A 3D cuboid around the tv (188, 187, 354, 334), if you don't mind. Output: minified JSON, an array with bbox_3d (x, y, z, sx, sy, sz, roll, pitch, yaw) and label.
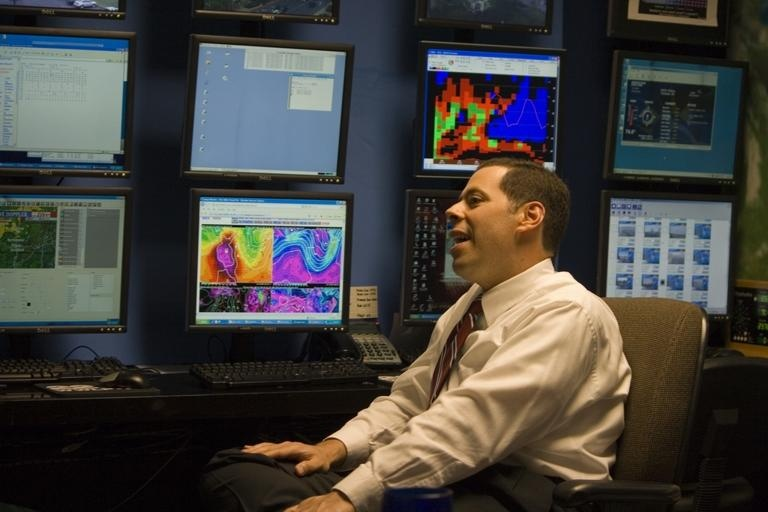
[{"bbox_3d":[-0.457,0.024,2.634,0.605,0.473,0.063,2,-2,-9],"label":"tv"}]

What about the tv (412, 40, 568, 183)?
[{"bbox_3d":[0.417,-0.592,2.769,0.775,0.609,0.072,1,3,-5],"label":"tv"}]

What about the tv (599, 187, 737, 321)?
[{"bbox_3d":[1.157,-0.006,2.802,0.595,0.474,0.075,1,0,-2],"label":"tv"}]

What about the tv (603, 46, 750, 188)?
[{"bbox_3d":[1.287,-0.596,2.960,0.655,0.522,0.065,5,1,-5],"label":"tv"}]

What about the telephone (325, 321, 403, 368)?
[{"bbox_3d":[-0.073,0.352,2.739,0.196,0.094,0.259,3,18,-30],"label":"telephone"}]

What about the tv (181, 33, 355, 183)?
[{"bbox_3d":[-0.456,-0.580,2.692,0.736,0.568,0.065,-8,23,-40],"label":"tv"}]
